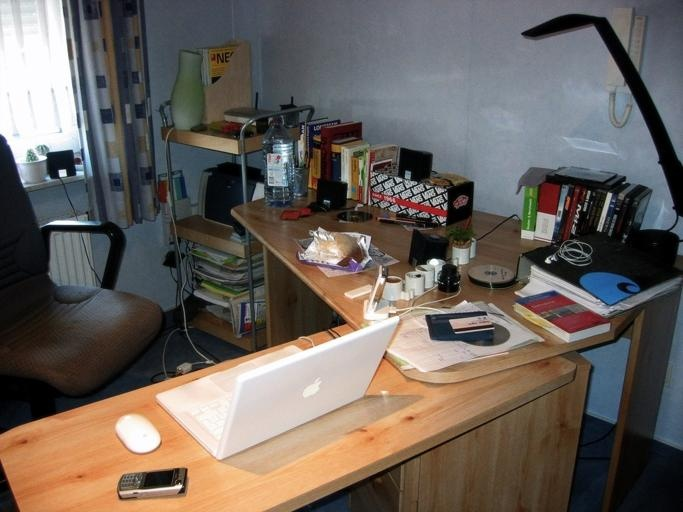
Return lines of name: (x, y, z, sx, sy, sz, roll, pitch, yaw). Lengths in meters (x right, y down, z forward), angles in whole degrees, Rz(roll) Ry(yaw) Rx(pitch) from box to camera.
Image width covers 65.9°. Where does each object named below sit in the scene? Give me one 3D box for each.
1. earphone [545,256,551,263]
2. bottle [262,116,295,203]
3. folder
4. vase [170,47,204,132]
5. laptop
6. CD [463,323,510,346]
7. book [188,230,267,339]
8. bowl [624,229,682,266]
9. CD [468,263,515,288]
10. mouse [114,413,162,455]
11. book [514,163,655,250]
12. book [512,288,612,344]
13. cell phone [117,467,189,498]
earphone: (0.735, 0.015, 1.870, 0.019, 0.009, 0.026, 21, 49, 39)
bottle: (-0.317, -0.475, 2.679, 0.146, 0.446, 0.172, -16, 34, -35)
folder: (0.900, 0.071, 1.835, 0.433, 0.100, 0.568, -11, 27, -31)
vase: (-0.846, -0.915, 2.887, 0.179, 0.388, 0.169, -9, 32, -35)
laptop: (-0.186, 0.288, 1.381, 0.517, 0.335, 0.378, -9, 23, -30)
CD: (0.463, 0.244, 1.601, 0.069, 0.016, 0.071, -6, 16, -14)
book: (-0.605, 0.165, 3.112, 0.428, 0.561, 0.358, 20, 27, 33)
bowl: (1.150, -0.028, 1.952, 0.136, 0.076, 0.171, -9, 26, -27)
CD: (0.544, 0.072, 1.912, 0.105, 0.023, 0.106, 12, 21, 34)
mouse: (-0.512, 0.447, 1.323, 0.127, 0.057, 0.072, 17, 24, 36)
book: (0.974, -0.224, 2.139, 0.332, 0.336, 0.487, -13, 21, -34)
book: (0.709, 0.198, 1.672, 0.253, 0.076, 0.323, -5, 24, -22)
cell phone: (-0.433, 0.526, 1.210, 0.152, 0.046, 0.059, -1, 20, -9)
